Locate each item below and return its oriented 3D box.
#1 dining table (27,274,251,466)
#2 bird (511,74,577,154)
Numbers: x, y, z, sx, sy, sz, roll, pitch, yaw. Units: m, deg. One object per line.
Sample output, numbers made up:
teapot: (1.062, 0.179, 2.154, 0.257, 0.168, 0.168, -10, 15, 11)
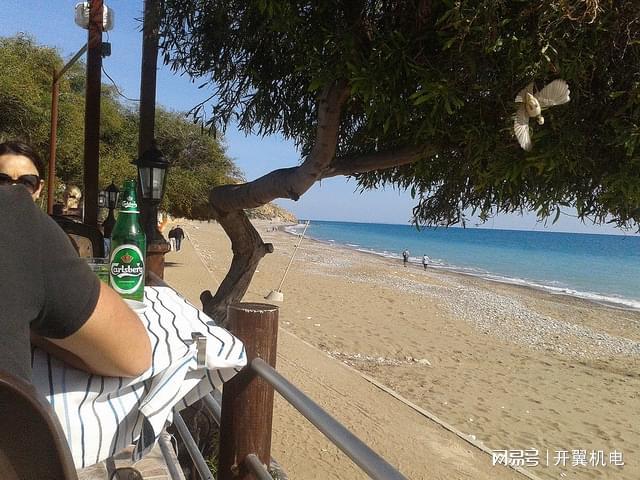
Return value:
dining table: (-0.596, 0.605, 1.636, 0.742, 0.288, 0.741, 36, 51, 16)
bird: (1.013, -0.609, 1.890, 0.118, 0.318, 0.185, 36, 14, -20)
